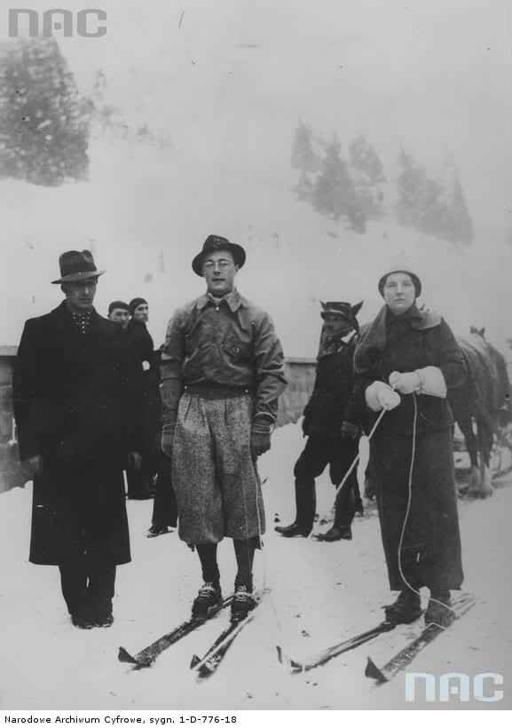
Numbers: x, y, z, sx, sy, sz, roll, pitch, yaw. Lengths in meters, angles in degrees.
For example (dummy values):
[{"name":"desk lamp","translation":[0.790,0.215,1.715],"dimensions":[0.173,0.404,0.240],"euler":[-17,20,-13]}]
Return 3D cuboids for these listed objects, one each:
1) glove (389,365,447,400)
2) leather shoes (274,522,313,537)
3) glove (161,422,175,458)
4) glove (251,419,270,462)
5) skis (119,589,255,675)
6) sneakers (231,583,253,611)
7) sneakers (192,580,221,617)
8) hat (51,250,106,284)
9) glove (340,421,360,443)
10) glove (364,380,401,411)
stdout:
[{"name":"glove","translation":[0.741,0.077,4.082],"dimensions":[0.197,0.152,0.081],"euler":[3,-1,3]},{"name":"leather shoes","translation":[0.171,0.767,4.141],"dimensions":[0.186,0.072,0.062],"euler":[6,-7,5]},{"name":"glove","translation":[-0.393,0.335,3.974],"dimensions":[0.044,0.120,0.090],"euler":[4,3,-6]},{"name":"glove","translation":[0.020,0.334,3.932],"dimensions":[0.116,0.140,0.073],"euler":[0,-1,1]},{"name":"skis","translation":[-0.291,1.214,3.977],"dimensions":[0.533,0.108,0.111],"euler":[-32,-7,-5]},{"name":"sneakers","translation":[-0.072,1.034,3.940],"dimensions":[0.064,0.067,0.142],"euler":[0,-21,2]},{"name":"sneakers","translation":[-0.219,1.056,3.983],"dimensions":[0.075,0.098,0.211],"euler":[-2,-9,17]},{"name":"hat","translation":[-0.806,-0.446,4.080],"dimensions":[0.178,0.091,0.170],"euler":[-15,-1,41]},{"name":"glove","translation":[0.435,0.311,4.117],"dimensions":[0.094,0.072,0.027],"euler":[28,-4,-1]},{"name":"glove","translation":[0.571,0.146,4.097],"dimensions":[0.153,0.115,0.070],"euler":[41,12,14]}]
